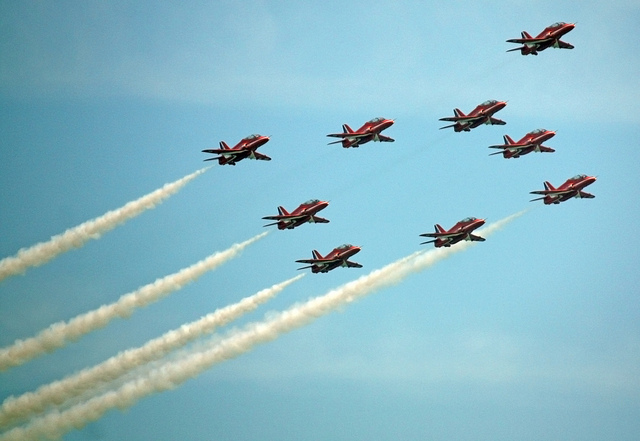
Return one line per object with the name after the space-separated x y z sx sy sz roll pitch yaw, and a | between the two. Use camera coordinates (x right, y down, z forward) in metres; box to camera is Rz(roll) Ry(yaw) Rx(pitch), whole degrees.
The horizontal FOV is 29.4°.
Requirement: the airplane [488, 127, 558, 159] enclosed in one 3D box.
26.573 -9.782 158.243 6.144 4.229 6.121 -8 -27 9 | airplane

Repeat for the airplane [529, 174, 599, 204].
26.983 -3.373 134.065 4.401 5.095 15.030 -5 1 -2 | airplane

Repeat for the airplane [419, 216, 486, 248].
17.312 0.819 157.047 7.083 3.265 7.716 -26 -15 16 | airplane

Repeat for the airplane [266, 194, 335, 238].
-2.510 -0.091 155.949 4.789 4.605 5.959 16 -33 -34 | airplane
